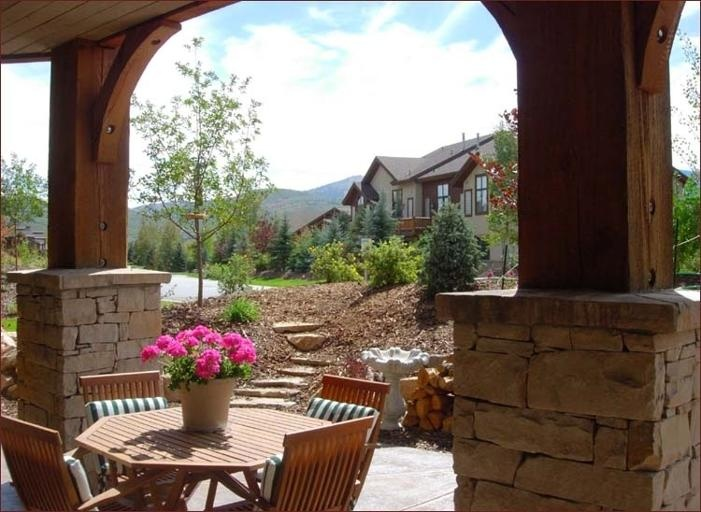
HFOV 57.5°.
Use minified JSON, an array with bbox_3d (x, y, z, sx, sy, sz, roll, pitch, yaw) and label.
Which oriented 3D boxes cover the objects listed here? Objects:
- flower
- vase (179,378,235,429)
[{"bbox_3d":[-0.978,0.668,4.199,0.470,0.400,0.686,1,-3,-43],"label":"flower"},{"bbox_3d":[-0.965,0.973,4.256,0.405,0.343,0.421,3,-5,-18],"label":"vase"}]
